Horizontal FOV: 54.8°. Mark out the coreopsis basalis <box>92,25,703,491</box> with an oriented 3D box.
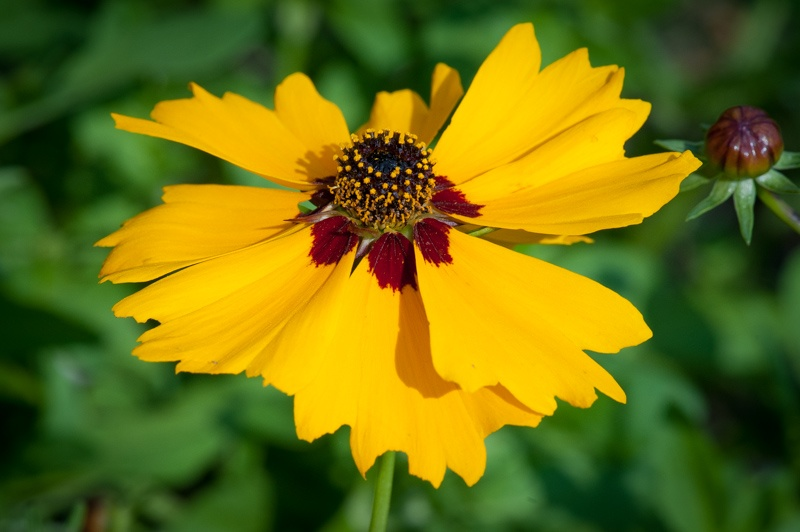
[{"bbox_3d":[-0.009,-0.095,2.115,1.436,1.473,0.423,-3,-105,-37],"label":"coreopsis basalis"}]
